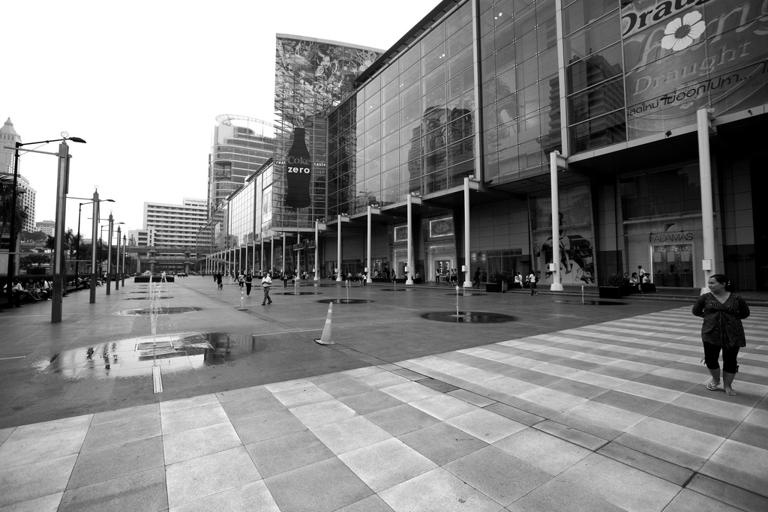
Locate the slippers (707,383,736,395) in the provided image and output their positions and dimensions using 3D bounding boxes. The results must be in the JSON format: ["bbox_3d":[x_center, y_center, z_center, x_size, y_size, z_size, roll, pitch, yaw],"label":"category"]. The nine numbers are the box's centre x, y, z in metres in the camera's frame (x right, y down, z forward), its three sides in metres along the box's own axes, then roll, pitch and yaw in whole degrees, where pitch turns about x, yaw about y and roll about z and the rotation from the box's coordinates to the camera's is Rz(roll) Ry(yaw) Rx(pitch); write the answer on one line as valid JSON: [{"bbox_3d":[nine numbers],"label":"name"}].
[{"bbox_3d":[8.811,3.455,13.608,0.640,0.162,0.253,3,4,18],"label":"slippers"}]

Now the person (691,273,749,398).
[{"bbox_3d":[8.927,2.000,13.726,1.108,3.061,0.936,-4,-4,33],"label":"person"}]
